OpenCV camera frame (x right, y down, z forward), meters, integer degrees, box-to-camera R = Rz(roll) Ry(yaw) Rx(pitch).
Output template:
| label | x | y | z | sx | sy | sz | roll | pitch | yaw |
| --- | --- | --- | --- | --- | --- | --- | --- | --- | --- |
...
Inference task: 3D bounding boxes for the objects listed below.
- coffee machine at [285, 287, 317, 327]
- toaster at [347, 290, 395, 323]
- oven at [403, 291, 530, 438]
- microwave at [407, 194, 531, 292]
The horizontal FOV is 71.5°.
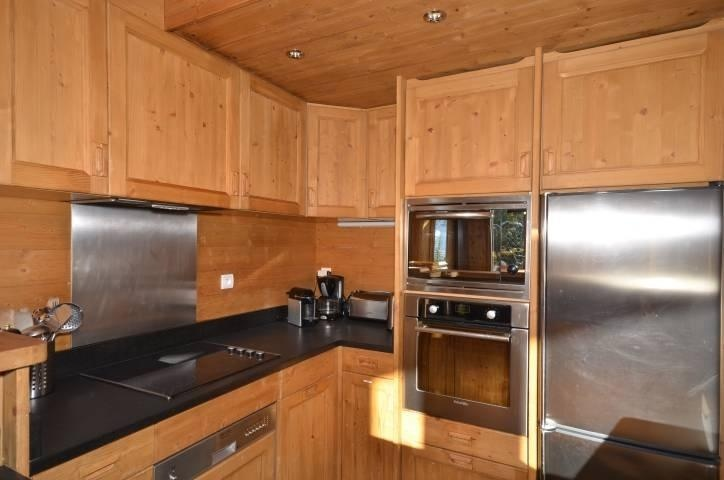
| label | x | y | z | sx | sy | sz | roll | pitch | yaw |
| --- | --- | --- | --- | --- | --- | --- | --- | --- | --- |
| coffee machine | -0.433 | 0.502 | 3.814 | 0.176 | 0.255 | 0.282 | -2 | 3 | -38 |
| toaster | 0.096 | 0.499 | 3.964 | 0.350 | 0.187 | 0.243 | 2 | 12 | 17 |
| oven | 0.748 | 0.765 | 3.365 | 0.767 | 0.735 | 0.636 | 1 | 0 | 26 |
| microwave | 0.728 | 0.023 | 3.378 | 1.013 | 0.680 | 0.534 | 0 | -3 | 25 |
